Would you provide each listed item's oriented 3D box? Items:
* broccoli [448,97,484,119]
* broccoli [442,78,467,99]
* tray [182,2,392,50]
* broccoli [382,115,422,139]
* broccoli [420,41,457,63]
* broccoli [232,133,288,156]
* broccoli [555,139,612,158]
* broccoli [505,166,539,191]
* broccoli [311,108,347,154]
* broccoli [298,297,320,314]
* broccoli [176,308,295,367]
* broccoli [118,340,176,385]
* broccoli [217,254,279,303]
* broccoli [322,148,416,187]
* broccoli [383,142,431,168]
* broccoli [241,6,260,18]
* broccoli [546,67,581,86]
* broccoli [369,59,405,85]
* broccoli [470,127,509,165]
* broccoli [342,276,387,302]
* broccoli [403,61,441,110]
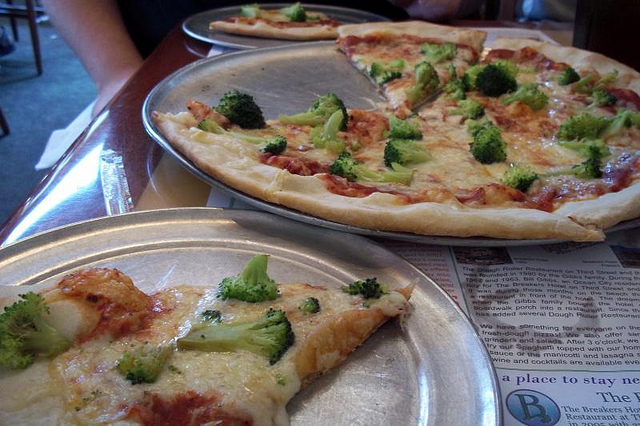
[{"bbox_3d":[1.124,-0.786,3.518,0.251,0.076,0.168,2,50,20],"label":"broccoli"},{"bbox_3d":[1.136,-1.015,3.840,0.228,0.047,0.179,-4,40,1],"label":"broccoli"},{"bbox_3d":[-0.374,-1.964,4.909,2.314,0.281,1.358,-8,24,-14],"label":"tray"},{"bbox_3d":[0.567,-0.593,3.251,0.182,0.112,0.216,-36,61,-22],"label":"broccoli"},{"bbox_3d":[1.143,-1.539,4.453,0.406,0.098,0.326,-1,38,7],"label":"broccoli"},{"bbox_3d":[-0.399,-0.445,3.023,0.315,0.167,0.113,12,57,3],"label":"broccoli"},{"bbox_3d":[1.775,-0.424,3.087,0.082,0.110,0.248,-41,26,-20],"label":"broccoli"},{"bbox_3d":[1.219,-0.210,2.799,0.194,0.106,0.155,-15,32,-3],"label":"broccoli"},{"bbox_3d":[0.118,-0.561,3.202,0.251,0.141,0.336,46,40,-9],"label":"broccoli"},{"bbox_3d":[-0.051,0.404,2.014,0.086,0.035,0.063,-4,15,2],"label":"broccoli"},{"bbox_3d":[-0.338,0.494,1.830,0.381,0.128,0.198,1,16,-4],"label":"broccoli"},{"bbox_3d":[-0.685,0.575,1.790,0.135,0.051,0.164,34,43,7],"label":"broccoli"},{"bbox_3d":[-0.340,0.314,2.067,0.265,0.141,0.203,-12,59,-10],"label":"broccoli"},{"bbox_3d":[0.307,-0.266,2.815,0.464,0.107,0.245,3,28,4],"label":"broccoli"},{"bbox_3d":[0.560,-0.368,2.997,0.291,0.130,0.149,2,25,-10],"label":"broccoli"},{"bbox_3d":[-0.763,-2.191,5.044,0.201,0.050,0.153,8,57,-7],"label":"broccoli"},{"bbox_3d":[2.033,-1.154,3.895,0.247,0.177,0.123,24,71,28],"label":"broccoli"},{"bbox_3d":[0.649,-1.282,4.135,0.274,0.123,0.371,5,26,46],"label":"broccoli"},{"bbox_3d":[1.095,-0.424,3.016,0.241,0.142,0.254,-3,31,4],"label":"broccoli"},{"bbox_3d":[0.207,0.342,2.083,0.151,0.049,0.114,3,12,24],"label":"broccoli"},{"bbox_3d":[0.864,-1.068,3.970,0.334,0.175,0.432,21,75,11],"label":"broccoli"}]
